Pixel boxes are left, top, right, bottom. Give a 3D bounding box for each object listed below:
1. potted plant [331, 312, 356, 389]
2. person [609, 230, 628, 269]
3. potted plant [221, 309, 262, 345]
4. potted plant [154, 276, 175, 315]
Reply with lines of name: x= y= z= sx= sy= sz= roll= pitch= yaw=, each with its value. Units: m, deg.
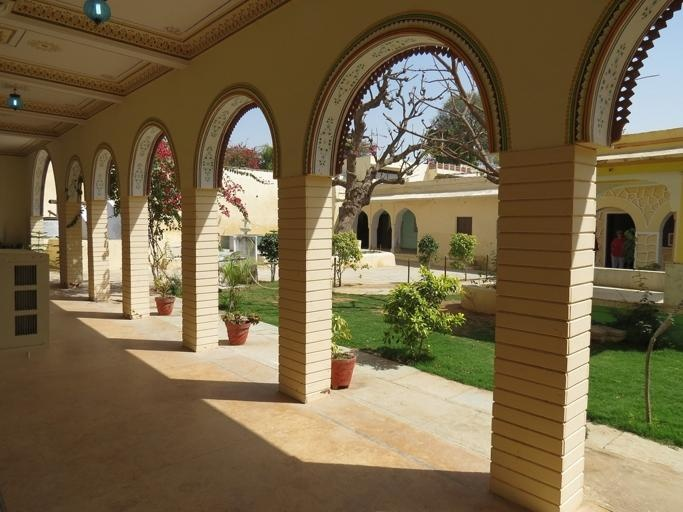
potted plant: x=-0.062 y=1.409 z=6.261 sx=0.452 sy=1.032 sz=0.494 roll=-1 pitch=-1 yaw=-22
person: x=9.380 y=-0.176 z=14.809 sx=0.416 sy=1.293 sz=2.077 roll=4 pitch=7 yaw=33
potted plant: x=-1.908 y=1.350 z=8.115 sx=0.591 sy=0.468 sz=0.544 roll=-4 pitch=-8 yaw=42
potted plant: x=-4.319 y=1.038 z=10.705 sx=0.510 sy=0.923 sz=0.520 roll=4 pitch=5 yaw=29
